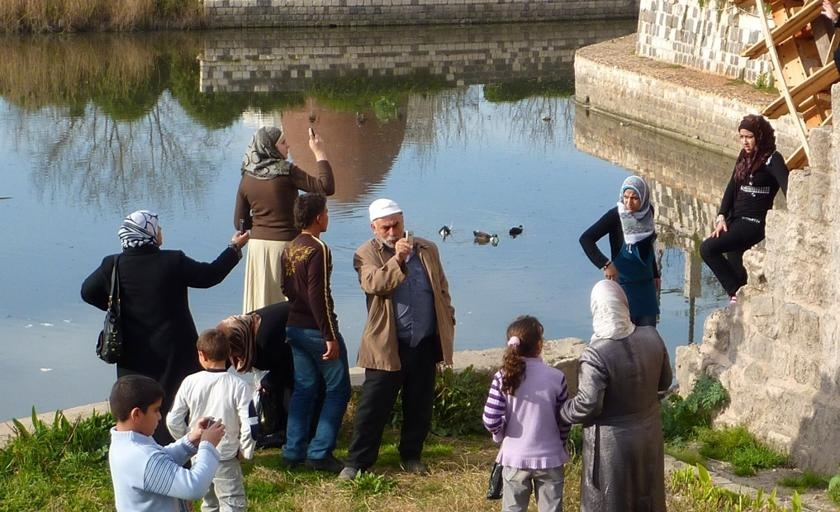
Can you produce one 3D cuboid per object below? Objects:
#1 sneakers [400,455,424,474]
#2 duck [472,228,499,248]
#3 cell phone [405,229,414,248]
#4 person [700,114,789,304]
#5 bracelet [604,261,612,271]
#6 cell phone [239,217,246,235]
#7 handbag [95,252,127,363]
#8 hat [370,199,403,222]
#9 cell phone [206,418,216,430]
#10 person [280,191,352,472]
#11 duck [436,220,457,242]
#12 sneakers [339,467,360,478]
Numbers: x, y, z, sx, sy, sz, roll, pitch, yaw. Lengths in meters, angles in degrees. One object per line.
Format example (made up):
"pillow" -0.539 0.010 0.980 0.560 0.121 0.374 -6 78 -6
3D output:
"sneakers" -0.050 2.348 11.974 0.137 0.107 0.247 3 -5 -38
"duck" 1.229 -0.316 19.080 0.476 0.264 0.454 3 1 3
"cell phone" -0.100 -0.180 11.558 0.094 0.172 0.192 3 1 -1
"person" 4.007 -0.589 12.942 1.017 2.305 0.567 4 1 39
"bracelet" 2.260 0.101 12.597 0.061 0.047 0.077 -14 8 -38
"cell phone" -2.087 -0.353 12.520 0.054 0.044 0.219 -9 -21 -11
"handbag" -3.338 0.576 11.488 0.226 0.925 0.238 2 1 -27
"hat" -0.408 -0.504 11.781 0.223 0.171 0.308 -10 5 -12
"cell phone" -2.007 1.618 10.277 0.088 0.092 0.053 6 -2 -3
"person" -1.174 0.858 12.202 0.951 3.124 0.945 2 3 38
"duck" 0.520 -0.453 19.550 0.373 0.234 0.495 0 2 2
"sneakers" -0.765 2.393 11.775 0.213 0.087 0.106 4 -1 -1
